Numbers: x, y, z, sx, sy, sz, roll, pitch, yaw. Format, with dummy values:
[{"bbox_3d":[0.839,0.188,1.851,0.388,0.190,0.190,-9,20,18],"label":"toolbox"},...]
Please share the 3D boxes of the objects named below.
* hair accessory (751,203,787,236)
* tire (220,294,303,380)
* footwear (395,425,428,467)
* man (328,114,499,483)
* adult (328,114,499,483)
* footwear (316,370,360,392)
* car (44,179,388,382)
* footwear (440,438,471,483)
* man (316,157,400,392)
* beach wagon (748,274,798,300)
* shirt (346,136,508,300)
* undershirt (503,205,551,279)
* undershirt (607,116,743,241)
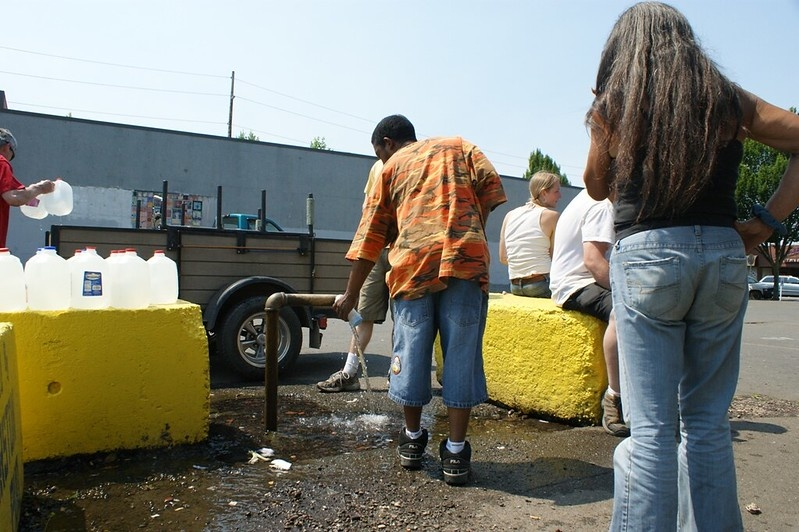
[{"bbox_3d":[1.994,-0.240,3.451,0.188,0.069,0.146,43,14,32],"label":"hair accessory"},{"bbox_3d":[-1.445,0.774,6.818,0.911,0.887,0.294,12,-8,-29],"label":"tire"},{"bbox_3d":[0.091,1.255,4.673,0.225,0.254,0.542,4,3,-1],"label":"footwear"},{"bbox_3d":[0.169,0.187,4.782,1.294,2.589,1.127,-4,-8,10],"label":"man"},{"bbox_3d":[0.207,0.184,4.807,1.263,2.617,1.099,-5,-8,16],"label":"adult"},{"bbox_3d":[-0.613,1.163,6.462,0.398,0.180,0.182,5,-8,-16],"label":"footwear"},{"bbox_3d":[-2.269,0.446,7.577,2.683,2.106,3.832,-14,-5,21],"label":"car"},{"bbox_3d":[0.385,1.313,4.319,0.210,0.252,0.227,2,8,5],"label":"footwear"},{"bbox_3d":[-0.319,0.336,6.908,0.759,0.683,2.347,3,45,6],"label":"man"},{"bbox_3d":[20.795,1.241,35.456,3.495,1.270,1.616,-3,0,11],"label":"beach wagon"},{"bbox_3d":[0.214,-0.357,4.555,1.069,1.237,0.585,-8,-23,18],"label":"shirt"},{"bbox_3d":[1.239,-0.215,6.247,0.357,0.734,0.535,-1,8,-14],"label":"undershirt"},{"bbox_3d":[1.457,-0.449,3.501,0.521,0.444,0.603,0,-5,-16],"label":"undershirt"}]
